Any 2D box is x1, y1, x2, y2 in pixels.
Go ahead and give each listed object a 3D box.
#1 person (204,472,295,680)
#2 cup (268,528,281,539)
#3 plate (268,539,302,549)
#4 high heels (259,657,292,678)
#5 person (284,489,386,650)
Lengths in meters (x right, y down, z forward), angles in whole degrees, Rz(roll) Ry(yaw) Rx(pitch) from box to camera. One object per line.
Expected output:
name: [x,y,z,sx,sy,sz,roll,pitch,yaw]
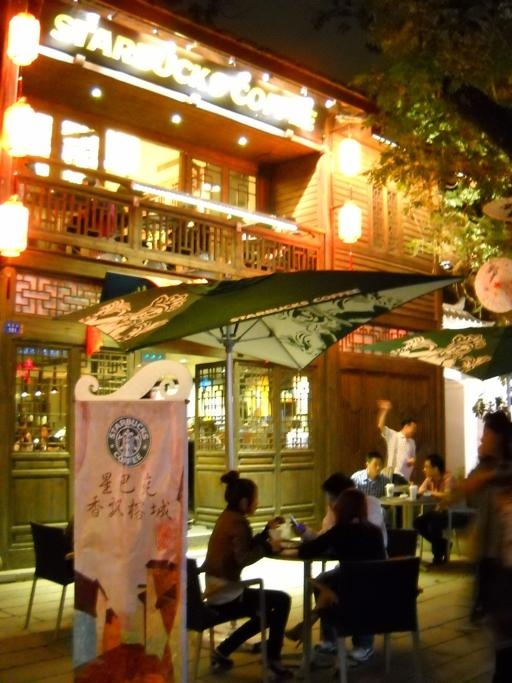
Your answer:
person: [-0.070,1.431,3.896,0.520,1.221,0.553,-2,-9,-4]
cup: [0.101,1.235,3.967,0.040,0.070,0.073,25,5,-34]
plate: [0.184,1.261,3.883,0.152,0.034,0.102,2,-7,-21]
high heels: [0.141,1.984,3.746,0.148,0.075,0.092,-3,-8,2]
person: [0.543,1.305,3.593,0.624,0.956,0.403,-9,-43,9]
